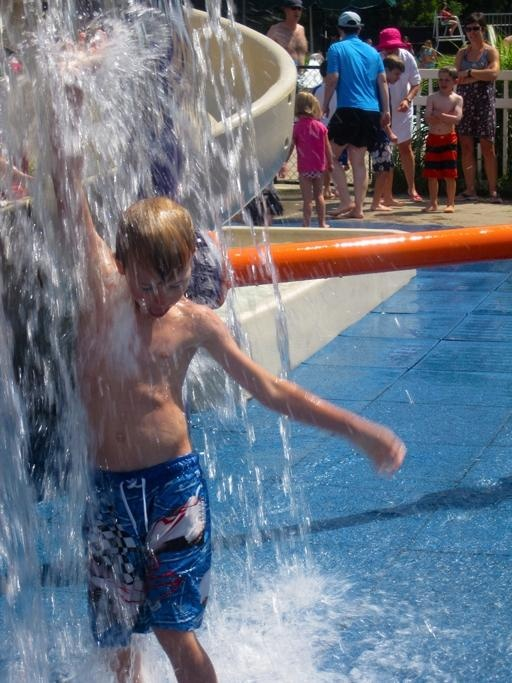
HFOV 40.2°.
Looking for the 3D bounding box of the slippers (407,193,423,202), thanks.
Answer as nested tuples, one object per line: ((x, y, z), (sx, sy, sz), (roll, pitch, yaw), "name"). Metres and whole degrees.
((2.274, -2.066, 10.054), (0.142, 0.101, 0.297), (0, 24, -1), "slippers")

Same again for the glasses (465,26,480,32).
((2.787, -4.027, 9.009), (0.152, 0.054, 0.147), (3, 13, 20), "glasses")

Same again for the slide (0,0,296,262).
((-0.048, -1.818, 5.016), (1.787, 0.767, 2.046), (9, 36, 15), "slide")

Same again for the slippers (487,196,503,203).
((3.235, -1.920, 9.514), (0.096, 0.084, 0.204), (-2, 4, -4), "slippers")

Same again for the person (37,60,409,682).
((-0.092, 0.194, 1.300), (0.549, 1.104, 0.289), (0, 12, 8), "person")
